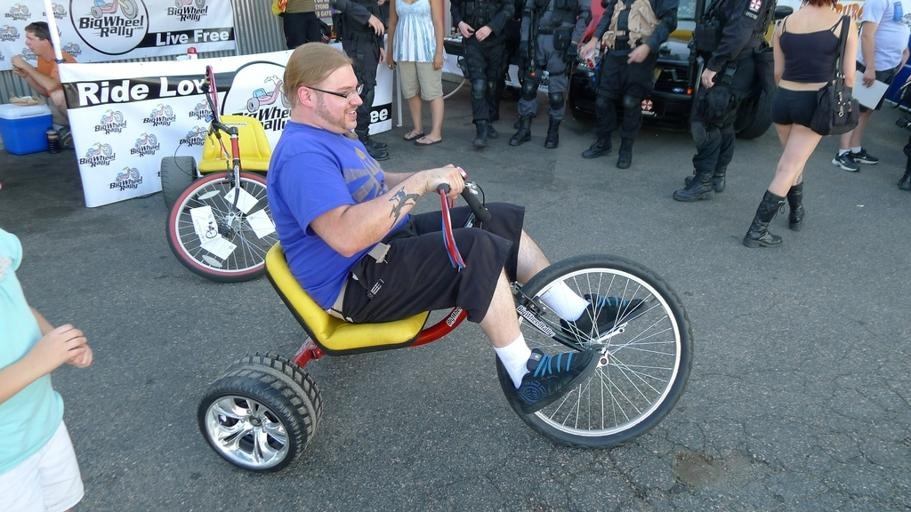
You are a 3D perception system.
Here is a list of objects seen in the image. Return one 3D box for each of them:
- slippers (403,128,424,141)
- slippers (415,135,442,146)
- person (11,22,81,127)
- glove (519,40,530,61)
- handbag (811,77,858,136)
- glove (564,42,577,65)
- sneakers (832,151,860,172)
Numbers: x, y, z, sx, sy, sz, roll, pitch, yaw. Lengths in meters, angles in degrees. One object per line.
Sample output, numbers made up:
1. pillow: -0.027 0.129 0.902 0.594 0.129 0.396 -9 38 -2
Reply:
1. slippers: -0.633 -1.903 8.906 0.181 0.128 0.328 6 18 22
2. slippers: -0.403 -1.757 8.730 0.332 0.096 0.185 -5 35 -15
3. person: -5.882 -2.594 8.199 0.568 1.330 0.971 -25 38 -37
4. glove: 1.042 -3.051 8.492 0.088 0.261 0.192 0 3 -29
5. handbag: 3.773 -1.513 5.715 0.389 0.550 0.285 -22 26 -28
6. glove: 1.653 -2.895 8.205 0.171 0.228 0.095 -2 14 -7
7. sneakers: 5.292 -1.287 7.794 0.188 0.199 0.429 -16 34 -5
